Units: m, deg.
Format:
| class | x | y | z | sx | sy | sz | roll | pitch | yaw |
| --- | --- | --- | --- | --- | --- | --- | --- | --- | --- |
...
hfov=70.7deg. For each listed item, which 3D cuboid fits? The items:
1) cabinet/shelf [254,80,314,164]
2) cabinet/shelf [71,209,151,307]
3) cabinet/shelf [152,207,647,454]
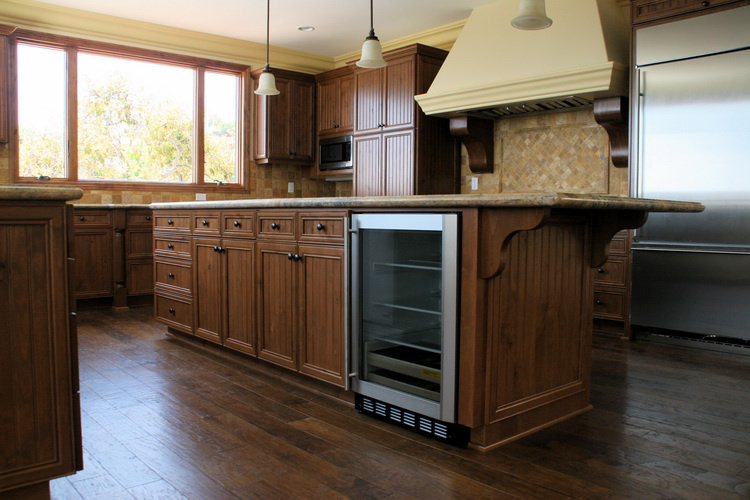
| class | x | y | z | sx | sy | sz | roll | pitch | yaw |
| --- | --- | --- | --- | --- | --- | --- | --- | --- | --- |
| cabinet/shelf | -1.163 | -1.742 | 7.171 | 0.802 | 1.126 | 0.241 | -7 | 14 | -33 |
| cabinet/shelf | -2.784 | 0.068 | 5.528 | 1.166 | 0.965 | 0.471 | -1 | 6 | -29 |
| cabinet/shelf | -0.383 | 0.190 | 3.730 | 3.836 | 1.293 | 1.008 | 7 | 13 | 32 |
